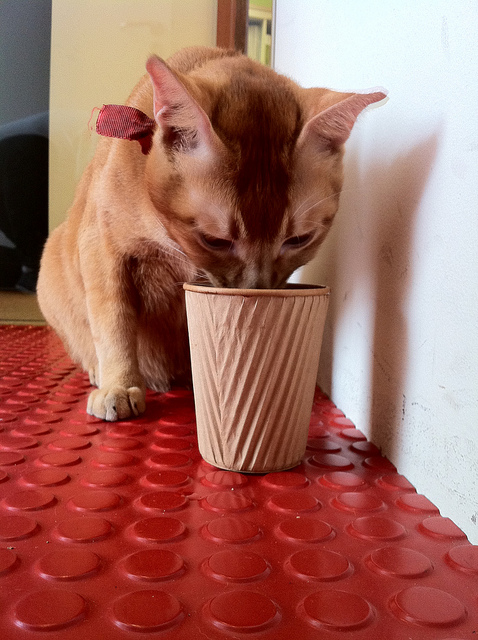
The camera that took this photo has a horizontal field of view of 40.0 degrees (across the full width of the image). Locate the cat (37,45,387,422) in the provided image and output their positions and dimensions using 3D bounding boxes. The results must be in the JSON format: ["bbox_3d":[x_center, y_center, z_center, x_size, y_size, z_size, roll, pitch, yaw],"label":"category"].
[{"bbox_3d":[-0.142,-0.144,1.386,0.477,0.638,0.963,0,11,-24],"label":"cat"}]

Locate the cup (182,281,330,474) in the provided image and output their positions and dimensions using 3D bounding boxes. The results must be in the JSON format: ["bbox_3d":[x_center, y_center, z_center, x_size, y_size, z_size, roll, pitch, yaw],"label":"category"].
[{"bbox_3d":[0.020,0.068,0.908,0.229,0.241,0.216,1,13,0],"label":"cup"}]
